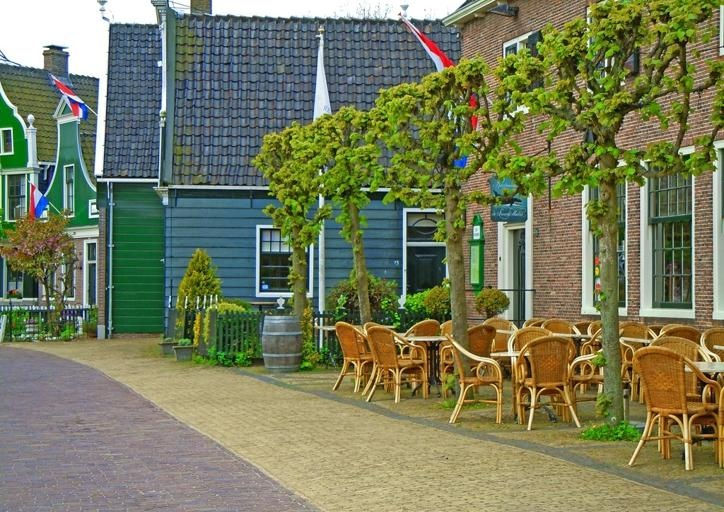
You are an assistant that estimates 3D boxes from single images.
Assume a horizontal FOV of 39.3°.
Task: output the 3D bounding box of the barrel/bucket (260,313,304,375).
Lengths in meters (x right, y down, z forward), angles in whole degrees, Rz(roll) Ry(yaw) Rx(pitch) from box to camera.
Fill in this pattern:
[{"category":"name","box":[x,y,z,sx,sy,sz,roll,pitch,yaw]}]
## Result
[{"category":"barrel/bucket","box":[-1.685,1.753,20.538,0.859,1.193,0.834,2,-6,0]}]
